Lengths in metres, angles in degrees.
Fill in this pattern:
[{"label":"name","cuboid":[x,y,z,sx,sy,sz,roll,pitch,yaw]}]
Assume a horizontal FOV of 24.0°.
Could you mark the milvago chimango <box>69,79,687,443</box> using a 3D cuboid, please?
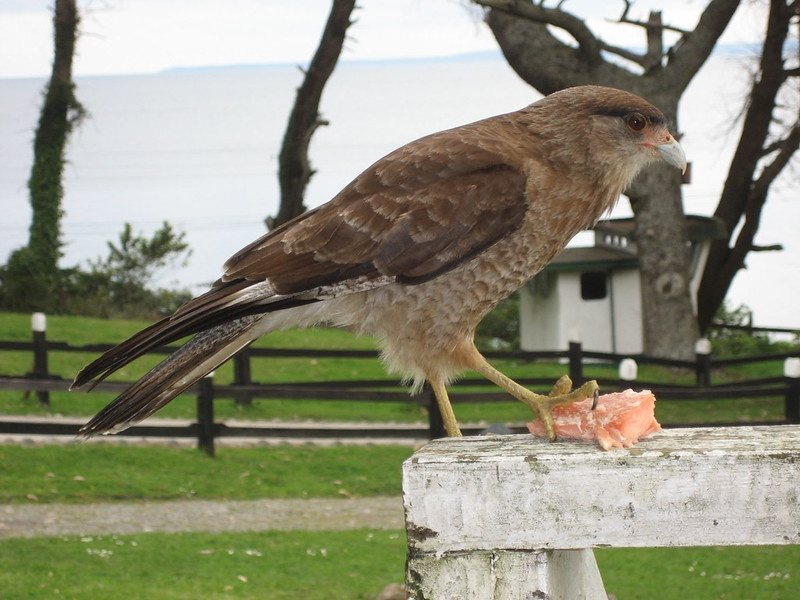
[{"label":"milvago chimango","cuboid":[-0.131,-0.235,15.268,5.397,2.671,1.612,-1,-4,24]}]
